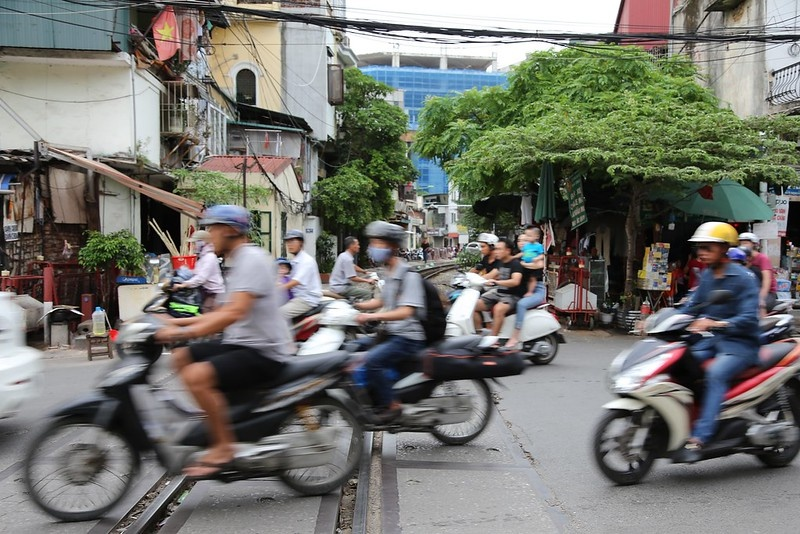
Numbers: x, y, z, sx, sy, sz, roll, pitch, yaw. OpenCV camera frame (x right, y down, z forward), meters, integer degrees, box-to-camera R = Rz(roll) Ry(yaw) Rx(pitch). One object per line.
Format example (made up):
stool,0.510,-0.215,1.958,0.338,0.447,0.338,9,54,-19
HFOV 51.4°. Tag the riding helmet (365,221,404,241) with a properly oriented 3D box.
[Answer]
riding helmet,-0.163,-0.415,9.678,0.358,0.129,0.261,10,-6,-18

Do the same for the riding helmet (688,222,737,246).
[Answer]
riding helmet,3.648,-0.386,9.637,0.459,0.148,0.294,4,-3,-19

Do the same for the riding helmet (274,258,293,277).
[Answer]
riding helmet,-1.871,0.016,13.554,0.268,0.263,0.311,0,-13,-2

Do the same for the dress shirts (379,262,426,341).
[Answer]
dress shirts,0.062,0.422,10.006,0.571,0.927,0.954,5,-5,-19

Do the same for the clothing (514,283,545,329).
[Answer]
clothing,2.161,0.617,13.705,0.543,0.790,0.388,0,11,-10

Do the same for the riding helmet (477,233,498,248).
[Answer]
riding helmet,1.456,-0.456,13.801,0.294,0.185,0.191,7,-6,6

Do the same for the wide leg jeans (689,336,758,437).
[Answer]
wide leg jeans,3.658,1.392,9.560,0.842,1.150,0.364,-5,8,-34

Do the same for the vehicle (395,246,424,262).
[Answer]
vehicle,0.942,-1.058,65.489,2.599,1.163,1.193,2,7,-3

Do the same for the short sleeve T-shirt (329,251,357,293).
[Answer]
short sleeve T-shirt,-1.001,0.083,14.504,0.475,0.689,0.572,-1,7,-4

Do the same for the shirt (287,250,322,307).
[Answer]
shirt,-1.377,0.220,12.869,0.741,0.988,1.017,3,-7,-7

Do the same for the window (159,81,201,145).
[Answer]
window,-6.335,-4.362,23.330,1.061,1.901,2.510,-2,0,-11

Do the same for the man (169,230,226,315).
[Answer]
man,-3.125,0.255,12.910,0.975,1.669,0.660,3,21,-6

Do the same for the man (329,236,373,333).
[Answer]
man,-0.908,0.197,14.780,0.970,1.432,0.713,4,13,-16

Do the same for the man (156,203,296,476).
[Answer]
man,-1.796,0.771,8.814,1.316,2.819,0.513,-3,8,-15

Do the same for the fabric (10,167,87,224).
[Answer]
fabric,-7.560,-1.509,17.786,2.436,1.200,0.105,0,7,26

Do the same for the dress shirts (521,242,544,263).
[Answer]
dress shirts,2.281,-0.248,14.453,0.396,0.358,0.214,2,-32,16

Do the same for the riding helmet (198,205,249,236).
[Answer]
riding helmet,-1.875,-0.508,8.903,0.447,0.188,0.301,-1,2,3

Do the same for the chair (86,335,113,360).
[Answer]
chair,-5.369,1.420,14.848,0.620,0.479,0.532,0,-3,-22

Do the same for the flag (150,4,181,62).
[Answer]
flag,-5.760,-5.749,20.428,0.603,1.327,0.578,-3,7,-15

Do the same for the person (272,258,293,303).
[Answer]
person,-1.822,0.132,13.034,0.371,0.412,0.771,1,29,-1

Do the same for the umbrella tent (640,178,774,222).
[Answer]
umbrella tent,7.190,-1.567,19.525,2.320,0.949,2.510,-1,6,-5

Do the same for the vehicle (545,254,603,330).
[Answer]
vehicle,3.942,0.566,18.679,1.082,1.570,1.903,0,1,-4

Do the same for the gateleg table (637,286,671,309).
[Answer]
gateleg table,5.938,0.708,19.399,0.698,0.537,0.599,-1,-3,-2

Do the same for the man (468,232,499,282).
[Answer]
man,1.470,-0.227,14.119,0.657,0.667,0.505,-8,3,-28
